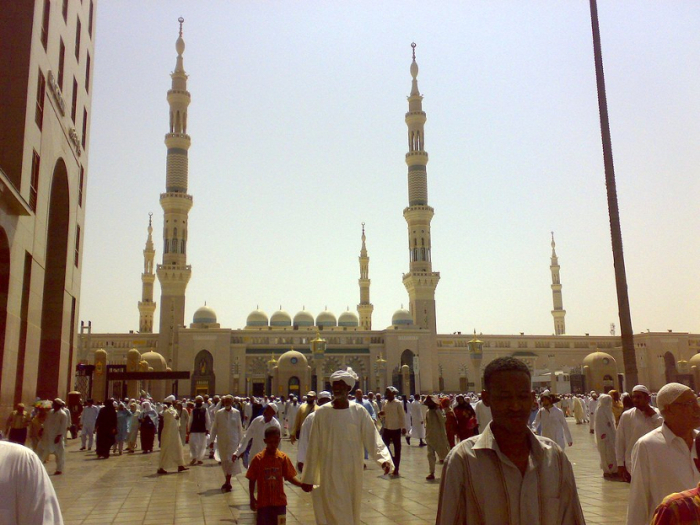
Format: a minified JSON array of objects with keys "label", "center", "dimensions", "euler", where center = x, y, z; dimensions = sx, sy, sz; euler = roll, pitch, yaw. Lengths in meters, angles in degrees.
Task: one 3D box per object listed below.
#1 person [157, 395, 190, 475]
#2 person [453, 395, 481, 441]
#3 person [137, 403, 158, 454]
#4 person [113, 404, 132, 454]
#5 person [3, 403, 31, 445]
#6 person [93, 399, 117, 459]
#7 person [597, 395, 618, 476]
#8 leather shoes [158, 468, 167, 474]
[{"label":"person","center":[-4.084,3.921,15.180],"dimensions":[0.619,1.695,2.079],"euler":[1,-13,-14]},{"label":"person","center":[2.368,3.351,13.843],"dimensions":[0.511,1.263,0.369],"euler":[-14,32,-18]},{"label":"person","center":[-5.918,4.832,19.277],"dimensions":[0.462,1.455,1.083],"euler":[2,-13,-17]},{"label":"person","center":[-6.861,4.892,19.512],"dimensions":[0.660,1.682,0.468],"euler":[3,8,-12]},{"label":"person","center":[-7.144,3.473,14.174],"dimensions":[0.448,0.883,2.736],"euler":[4,-14,-26]},{"label":"person","center":[-6.553,4.442,17.660],"dimensions":[0.520,1.596,1.655],"euler":[3,-13,-20]},{"label":"person","center":[4.923,3.322,12.660],"dimensions":[0.364,1.531,1.008],"euler":[-6,-13,19]},{"label":"leather shoes","center":[-4.030,4.504,14.170],"dimensions":[0.153,0.114,0.086],"euler":[0,-3,-31]}]
